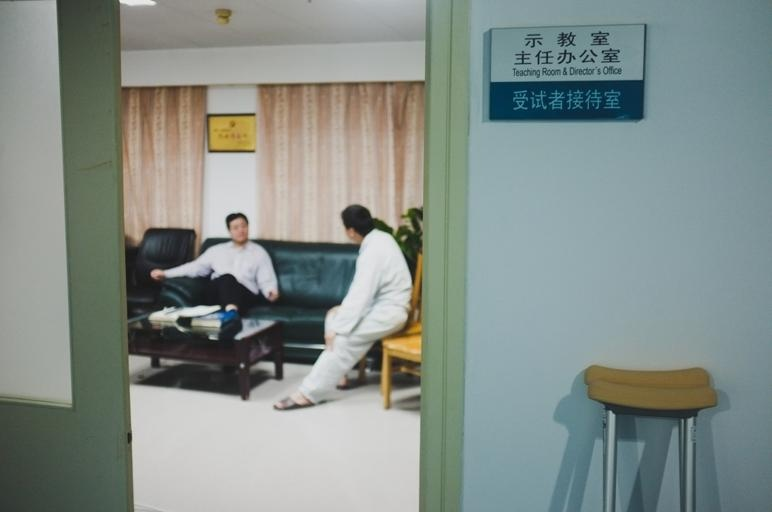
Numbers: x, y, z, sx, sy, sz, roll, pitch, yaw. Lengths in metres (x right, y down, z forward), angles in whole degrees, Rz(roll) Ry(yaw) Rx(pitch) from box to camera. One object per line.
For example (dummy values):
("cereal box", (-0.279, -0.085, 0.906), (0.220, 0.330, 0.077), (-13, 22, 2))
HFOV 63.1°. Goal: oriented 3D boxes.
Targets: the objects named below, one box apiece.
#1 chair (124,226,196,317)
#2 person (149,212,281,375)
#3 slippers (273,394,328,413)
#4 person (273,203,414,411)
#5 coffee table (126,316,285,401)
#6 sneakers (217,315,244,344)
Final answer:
("chair", (-1.969, 0.117, 5.403), (0.618, 0.712, 0.706), (2, 5, 4))
("person", (-1.219, 0.091, 4.636), (0.942, 0.811, 1.309), (1, 2, -22))
("slippers", (-0.517, 0.896, 3.869), (0.284, 0.082, 0.103), (3, -5, -22))
("person", (-0.165, 0.334, 4.633), (1.233, 1.630, 0.941), (1, 1, -1))
("coffee table", (-1.012, 0.574, 4.048), (0.811, 0.334, 0.531), (1, 3, 19))
("sneakers", (-0.950, 0.459, 3.917), (0.140, 0.118, 0.206), (5, 14, 15))
